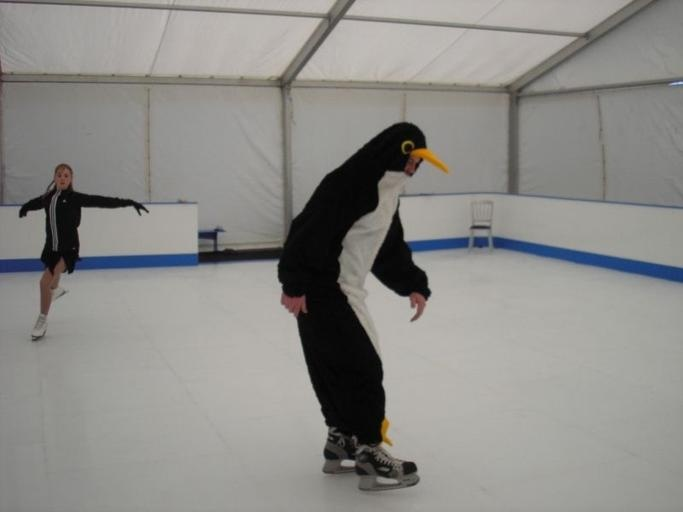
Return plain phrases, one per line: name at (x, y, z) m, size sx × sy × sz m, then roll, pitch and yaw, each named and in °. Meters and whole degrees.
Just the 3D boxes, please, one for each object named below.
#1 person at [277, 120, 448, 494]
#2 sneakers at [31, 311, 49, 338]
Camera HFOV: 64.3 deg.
person at (0.104, 0.301, 3.322) m, size 0.939 × 2.191 × 0.571 m, roll 2°, pitch 2°, yaw -2°
sneakers at (-3.300, 0.784, 6.029) m, size 0.111 × 0.178 × 0.375 m, roll 1°, pitch 3°, yaw -12°
